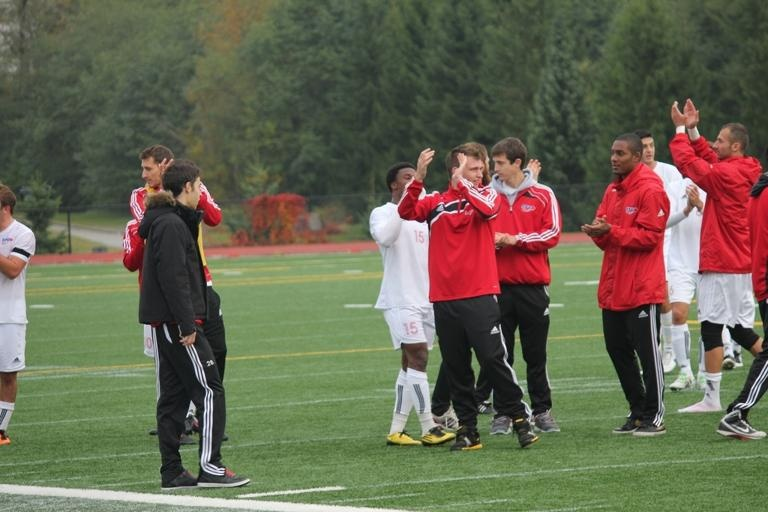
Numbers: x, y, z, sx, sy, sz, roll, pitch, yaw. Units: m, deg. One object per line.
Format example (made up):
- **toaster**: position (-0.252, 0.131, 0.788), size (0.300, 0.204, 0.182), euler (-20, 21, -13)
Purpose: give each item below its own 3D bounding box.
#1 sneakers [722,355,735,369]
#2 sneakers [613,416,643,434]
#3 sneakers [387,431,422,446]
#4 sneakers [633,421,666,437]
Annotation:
- **sneakers**: position (6.902, 2.144, 30.661), size (0.176, 0.187, 0.467), euler (1, 4, 16)
- **sneakers**: position (4.481, 3.116, 28.026), size (0.660, 0.258, 0.211), euler (0, -3, 7)
- **sneakers**: position (0.392, 3.332, 28.049), size (0.658, 0.240, 0.241), euler (0, -3, -1)
- **sneakers**: position (4.837, 3.148, 27.877), size (0.532, 0.208, 0.233), euler (3, -4, 1)
